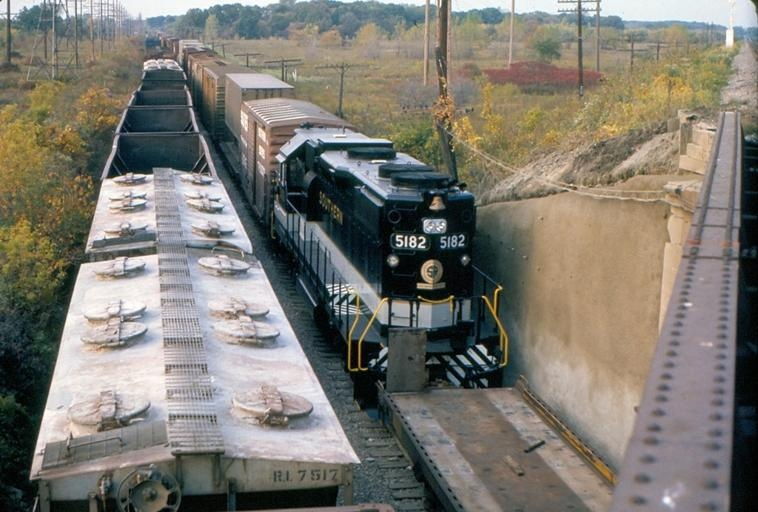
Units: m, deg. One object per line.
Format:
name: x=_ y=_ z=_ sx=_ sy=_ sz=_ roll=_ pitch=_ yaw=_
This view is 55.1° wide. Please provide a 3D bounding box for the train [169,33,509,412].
train: x=-1.345 y=-2.215 z=22.583 sx=3.902 sy=5.255 sz=19.099 roll=-2 pitch=21 yaw=-15
